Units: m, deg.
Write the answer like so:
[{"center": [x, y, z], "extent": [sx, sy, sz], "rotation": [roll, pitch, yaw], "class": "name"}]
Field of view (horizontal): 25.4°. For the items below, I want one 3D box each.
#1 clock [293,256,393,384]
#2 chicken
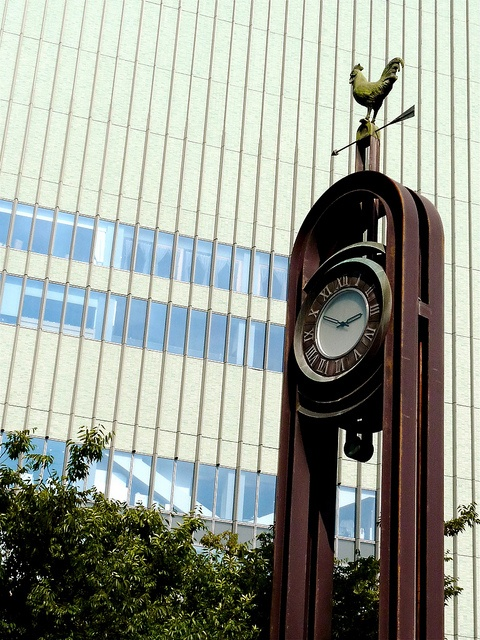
[{"center": [1.357, 0.046, 14.389], "extent": [0.231, 1.740, 1.815], "rotation": [20, -29, -32], "class": "clock"}, {"center": [2.049, -3.533, 16.271], "extent": [0.394, 1.093, 1.085], "rotation": [15, -12, -39], "class": "chicken"}]
